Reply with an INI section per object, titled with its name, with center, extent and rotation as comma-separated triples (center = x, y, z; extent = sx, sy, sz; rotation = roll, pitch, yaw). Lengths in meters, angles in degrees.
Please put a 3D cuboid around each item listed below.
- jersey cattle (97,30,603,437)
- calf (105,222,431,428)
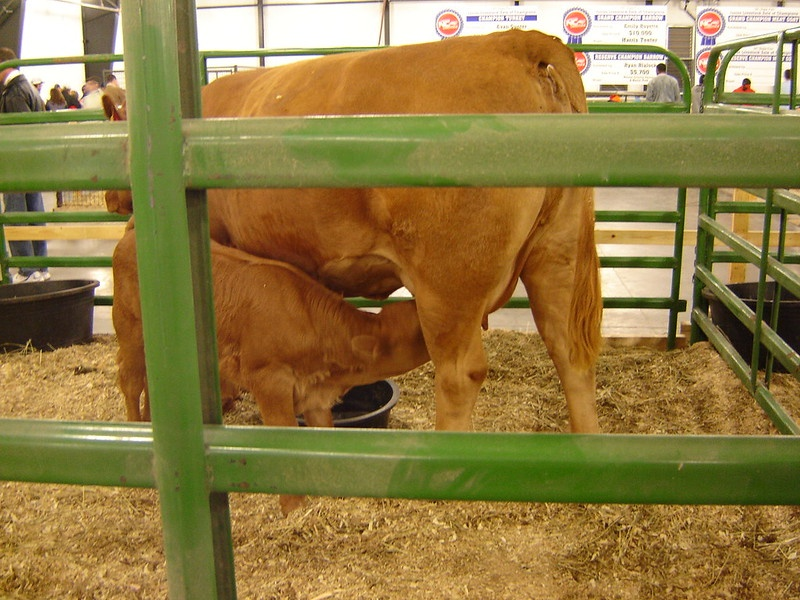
[jersey cattle]
center = -0.449, -0.291, 3.759
extent = 2.826, 1.668, 0.893
rotation = 10, 16, 42
[calf]
center = -0.516, 0.037, 3.443
extent = 1.815, 1.032, 0.538
rotation = -2, 8, 7
